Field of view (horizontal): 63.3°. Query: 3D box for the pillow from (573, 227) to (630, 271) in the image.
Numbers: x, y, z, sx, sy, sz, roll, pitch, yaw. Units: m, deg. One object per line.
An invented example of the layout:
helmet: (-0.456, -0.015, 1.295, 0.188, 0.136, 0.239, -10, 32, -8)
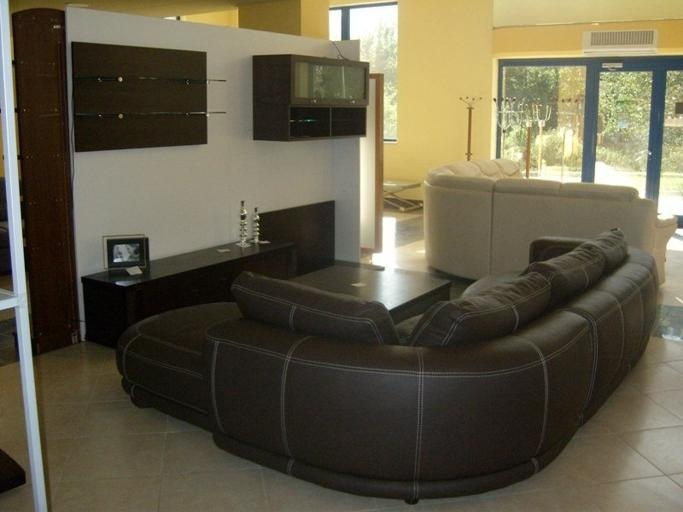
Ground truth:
pillow: (1.816, -0.049, 3.733, 0.350, 0.104, 0.310, -23, 27, -27)

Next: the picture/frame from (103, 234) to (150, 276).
picture/frame: (-1.724, -0.003, 4.416, 0.319, 0.274, 0.121, -2, 2, -23)

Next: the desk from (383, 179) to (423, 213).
desk: (1.117, -1.086, 10.056, 0.699, 0.549, 1.094, -2, 13, 5)

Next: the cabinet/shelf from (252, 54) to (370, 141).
cabinet/shelf: (-0.259, -1.637, 5.859, 0.419, 0.817, 1.394, 11, 19, 32)
